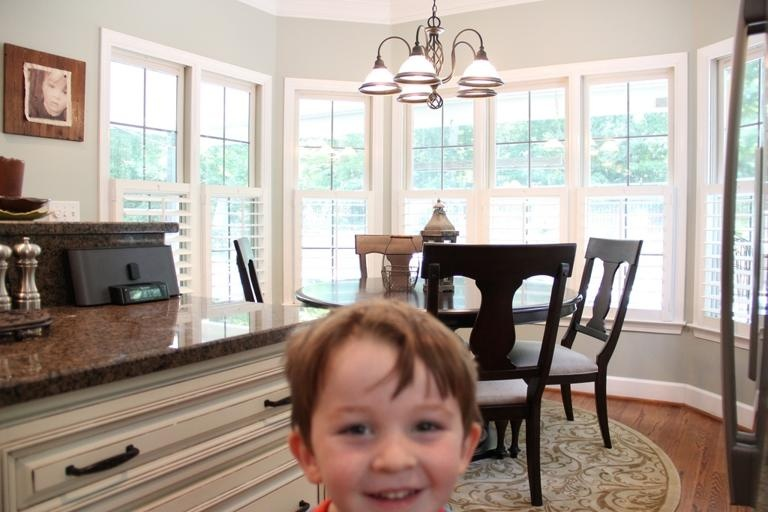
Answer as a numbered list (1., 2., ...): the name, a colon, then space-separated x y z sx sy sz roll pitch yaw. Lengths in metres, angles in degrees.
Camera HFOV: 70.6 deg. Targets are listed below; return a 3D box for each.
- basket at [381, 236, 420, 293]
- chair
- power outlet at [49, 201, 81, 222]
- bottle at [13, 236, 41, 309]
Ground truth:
1. basket: 0.094 0.032 3.074 0.268 0.304 0.249 2 2 37
2. chair: 0.076 0.445 2.512 1.203 0.713 1.200 -2 -2 31
3. power outlet: -1.869 -0.267 3.159 0.122 0.117 0.216 -1 8 -4
4. bottle: -1.115 0.053 1.707 0.095 0.219 0.073 7 11 37
